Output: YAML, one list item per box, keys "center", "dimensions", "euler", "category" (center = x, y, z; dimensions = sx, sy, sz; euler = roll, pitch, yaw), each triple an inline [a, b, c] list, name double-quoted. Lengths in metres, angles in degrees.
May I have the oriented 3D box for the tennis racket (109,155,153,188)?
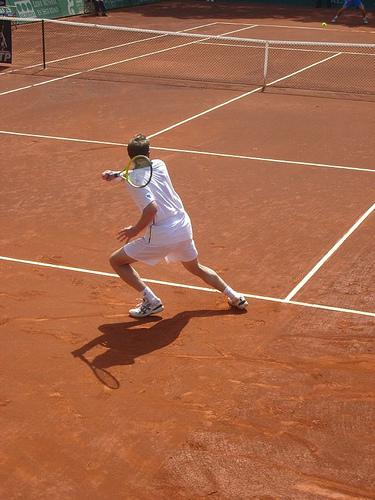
- center: [-0.381, -0.626, 4.047]
  dimensions: [0.224, 0.257, 0.322]
  euler: [-2, 13, -3]
  category: "tennis racket"
